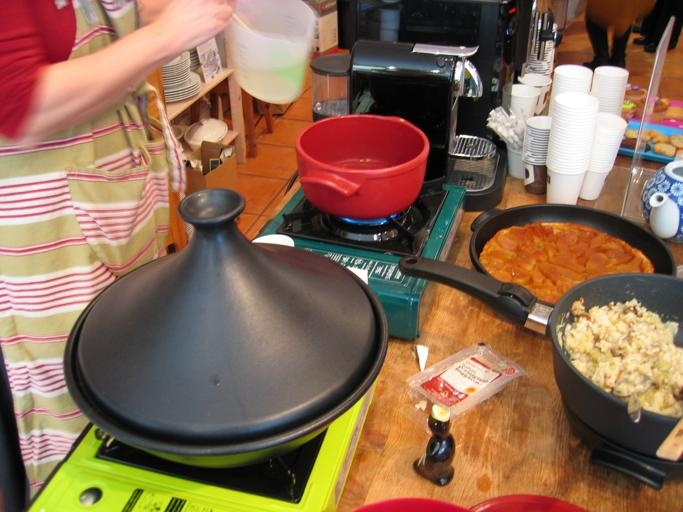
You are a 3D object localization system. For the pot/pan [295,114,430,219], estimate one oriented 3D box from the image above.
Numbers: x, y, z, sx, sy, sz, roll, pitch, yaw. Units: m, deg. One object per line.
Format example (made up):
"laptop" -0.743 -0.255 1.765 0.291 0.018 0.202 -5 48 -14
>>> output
"pot/pan" 0.046 -0.220 1.235 0.270 0.138 0.340 18 42 22

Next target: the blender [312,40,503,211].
"blender" 0.211 -0.386 1.569 0.583 0.479 0.319 4 29 15

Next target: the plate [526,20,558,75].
"plate" 0.710 -0.767 1.819 0.099 0.195 0.185 7 36 19
